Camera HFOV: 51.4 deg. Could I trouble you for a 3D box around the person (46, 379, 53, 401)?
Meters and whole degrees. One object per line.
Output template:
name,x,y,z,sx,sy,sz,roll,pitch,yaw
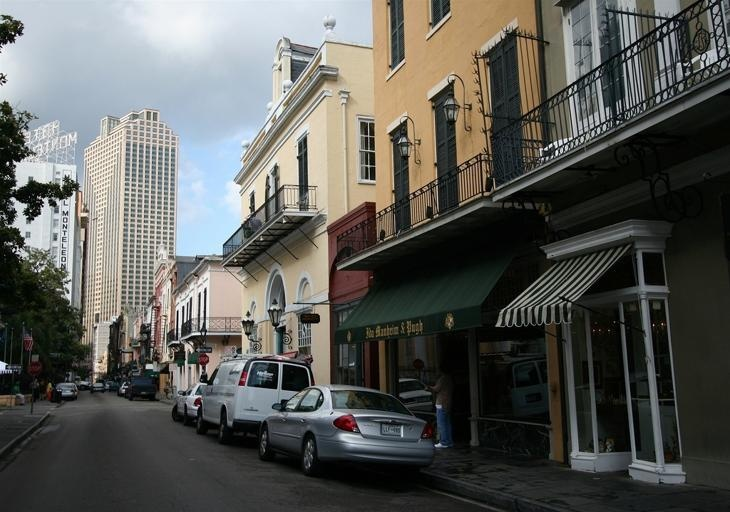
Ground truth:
person,-22.783,9.900,54.989,0.414,1.505,2.382,7,-18,-21

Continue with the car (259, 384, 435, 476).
car,-0.620,3.810,16.627,3.896,1.987,1.623,-13,-21,37

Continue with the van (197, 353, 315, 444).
van,-3.561,4.196,22.745,1.875,1.734,3.937,6,-13,-24
